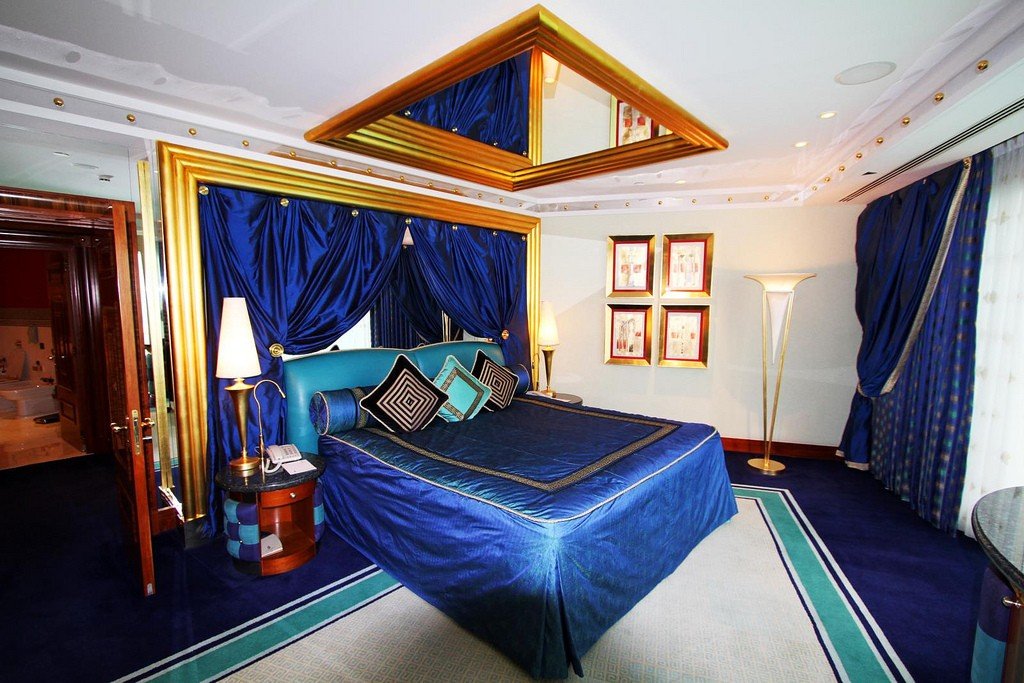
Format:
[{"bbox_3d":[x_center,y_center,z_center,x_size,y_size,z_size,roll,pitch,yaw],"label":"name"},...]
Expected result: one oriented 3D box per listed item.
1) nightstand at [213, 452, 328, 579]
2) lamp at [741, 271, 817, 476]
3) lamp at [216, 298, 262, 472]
[{"bbox_3d":[-2.096,1.421,5.731,0.878,0.888,0.903,-6,8,-43],"label":"nightstand"},{"bbox_3d":[2.919,0.343,7.213,0.579,2.177,0.722,1,6,20],"label":"lamp"},{"bbox_3d":[-2.348,0.379,5.563,0.332,1.473,0.448,-4,6,-24],"label":"lamp"}]
